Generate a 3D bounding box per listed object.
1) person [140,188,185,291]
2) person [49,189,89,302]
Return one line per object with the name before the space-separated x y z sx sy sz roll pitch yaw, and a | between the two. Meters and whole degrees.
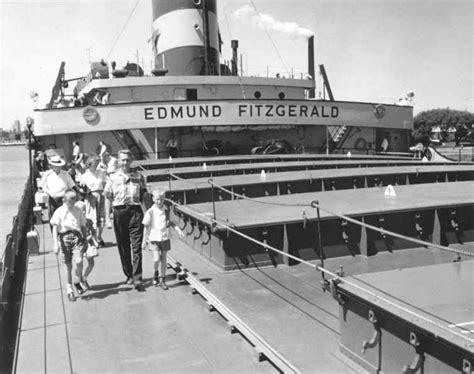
person | -1.449 0.936 10.667 0.648 1.853 1.084 -2 2 -7
person | -2.981 1.019 10.066 0.594 1.971 0.416 -3 3 -38
